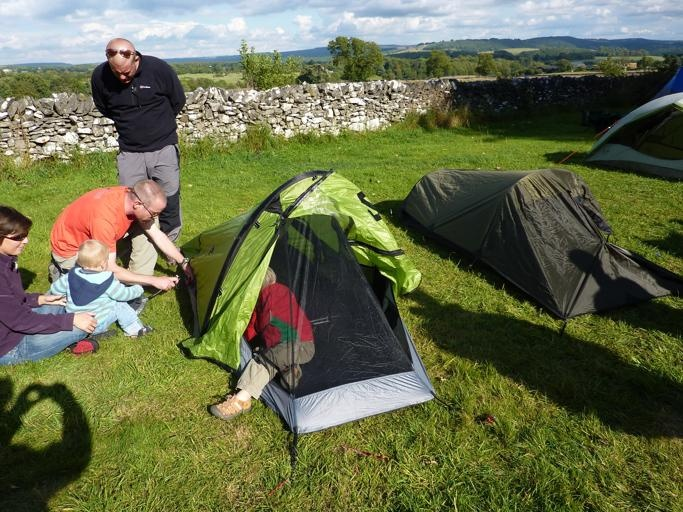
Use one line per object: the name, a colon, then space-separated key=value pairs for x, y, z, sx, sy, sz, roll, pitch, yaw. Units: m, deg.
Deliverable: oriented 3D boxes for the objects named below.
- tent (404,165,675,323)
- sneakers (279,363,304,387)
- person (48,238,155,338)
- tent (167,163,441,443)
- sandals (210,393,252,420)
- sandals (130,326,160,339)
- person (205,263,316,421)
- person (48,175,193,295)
tent: x=2.260 y=-0.334 z=6.487 sx=1.697 sy=0.796 sz=2.514 roll=-18 pitch=35 yaw=-33
sneakers: x=-0.460 y=1.118 z=4.727 sx=0.179 sy=0.142 sz=0.163 roll=-11 pitch=33 yaw=-19
person: x=-2.525 y=0.346 z=5.336 sx=1.017 sy=0.956 sz=0.635 roll=10 pitch=19 yaw=8
tent: x=-0.504 y=0.598 z=5.514 sx=2.229 sy=1.378 sz=2.740 roll=-13 pitch=40 yaw=-35
sandals: x=-1.008 y=1.362 z=4.683 sx=0.343 sy=0.156 sz=0.193 roll=-16 pitch=37 yaw=-37
sandals: x=-2.101 y=0.813 z=5.471 sx=0.257 sy=0.115 sz=0.091 roll=-13 pitch=47 yaw=-31
person: x=-0.677 y=0.838 z=4.869 sx=0.769 sy=0.882 sz=1.212 roll=8 pitch=31 yaw=13
person: x=-2.372 y=-0.201 z=5.519 sx=1.434 sy=1.259 sz=0.983 roll=12 pitch=31 yaw=-15
